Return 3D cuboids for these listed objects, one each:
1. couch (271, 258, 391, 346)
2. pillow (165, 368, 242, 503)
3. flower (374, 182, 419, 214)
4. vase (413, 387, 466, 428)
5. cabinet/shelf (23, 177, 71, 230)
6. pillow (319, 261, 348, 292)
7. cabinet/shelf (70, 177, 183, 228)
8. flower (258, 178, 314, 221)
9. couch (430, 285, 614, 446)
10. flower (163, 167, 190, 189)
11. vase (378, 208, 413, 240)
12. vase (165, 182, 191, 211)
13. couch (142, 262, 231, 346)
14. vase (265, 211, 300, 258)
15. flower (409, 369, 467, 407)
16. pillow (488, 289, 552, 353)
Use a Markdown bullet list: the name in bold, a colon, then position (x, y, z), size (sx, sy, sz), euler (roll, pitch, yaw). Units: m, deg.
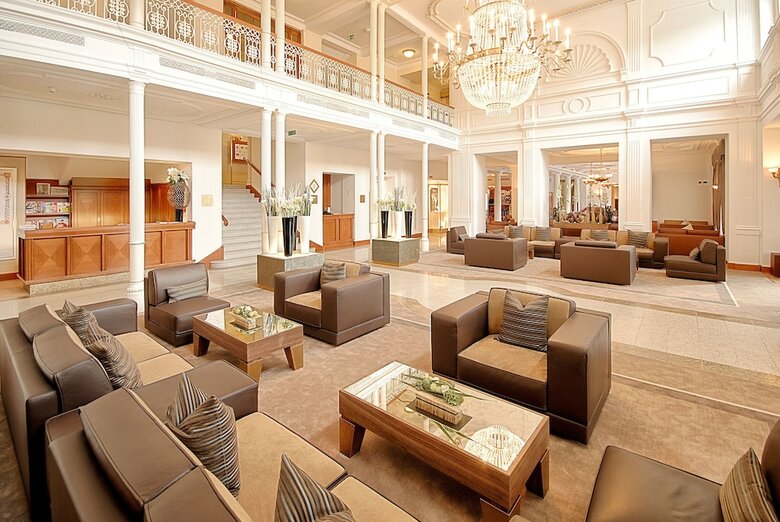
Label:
- **couch**: position (-0.924, 0.537, 7.068), size (1.473, 1.036, 1.146), euler (9, 11, 41)
- **pillow**: position (-1.449, 1.398, 3.610), size (0.421, 0.852, 0.741), euler (-11, 20, -38)
- **flower**: position (0.005, -1.544, 12.182), size (0.788, 0.902, 1.206), euler (-2, 2, -37)
- **vase**: position (0.476, 1.368, 4.398), size (0.476, 0.165, 0.169), euler (9, 24, 40)
- **cabinet/shelf**: position (-8.146, -1.392, 11.033), size (0.860, 1.123, 0.238), euler (-7, 10, -36)
- **pillow**: position (-0.829, 0.234, 6.858), size (0.409, 0.466, 0.167), euler (3, -3, 32)
- **cabinet/shelf**: position (-6.232, -1.371, 10.815), size (1.540, 1.337, 0.482), euler (-3, 2, -43)
- **flower**: position (-2.156, -1.193, 9.641), size (0.999, 1.003, 1.364), euler (2, 4, 42)
- **couch**: position (1.511, 1.007, 5.479), size (1.798, 1.271, 1.345), euler (8, 14, 30)
- **flower**: position (-4.665, -1.823, 10.386), size (0.557, 0.242, 0.586), euler (0, 27, -6)
- **vase**: position (0.122, -0.962, 11.810), size (0.756, 0.794, 0.662), euler (0, 2, 5)
- **vase**: position (-4.652, -1.445, 10.438), size (0.527, 0.786, 0.528), euler (3, 4, 5)
- **couch**: position (-2.852, 0.565, 6.890), size (1.070, 1.185, 1.155), euler (7, 8, 37)
- **vase**: position (-2.019, -0.510, 9.498), size (0.721, 0.896, 0.728), euler (9, 10, 42)
- **flower**: position (0.467, 1.240, 4.486), size (0.359, 0.123, 0.259), euler (14, -6, 37)
- **pillow**: position (1.498, 0.710, 5.323), size (0.592, 0.694, 0.256), euler (2, -7, 35)
